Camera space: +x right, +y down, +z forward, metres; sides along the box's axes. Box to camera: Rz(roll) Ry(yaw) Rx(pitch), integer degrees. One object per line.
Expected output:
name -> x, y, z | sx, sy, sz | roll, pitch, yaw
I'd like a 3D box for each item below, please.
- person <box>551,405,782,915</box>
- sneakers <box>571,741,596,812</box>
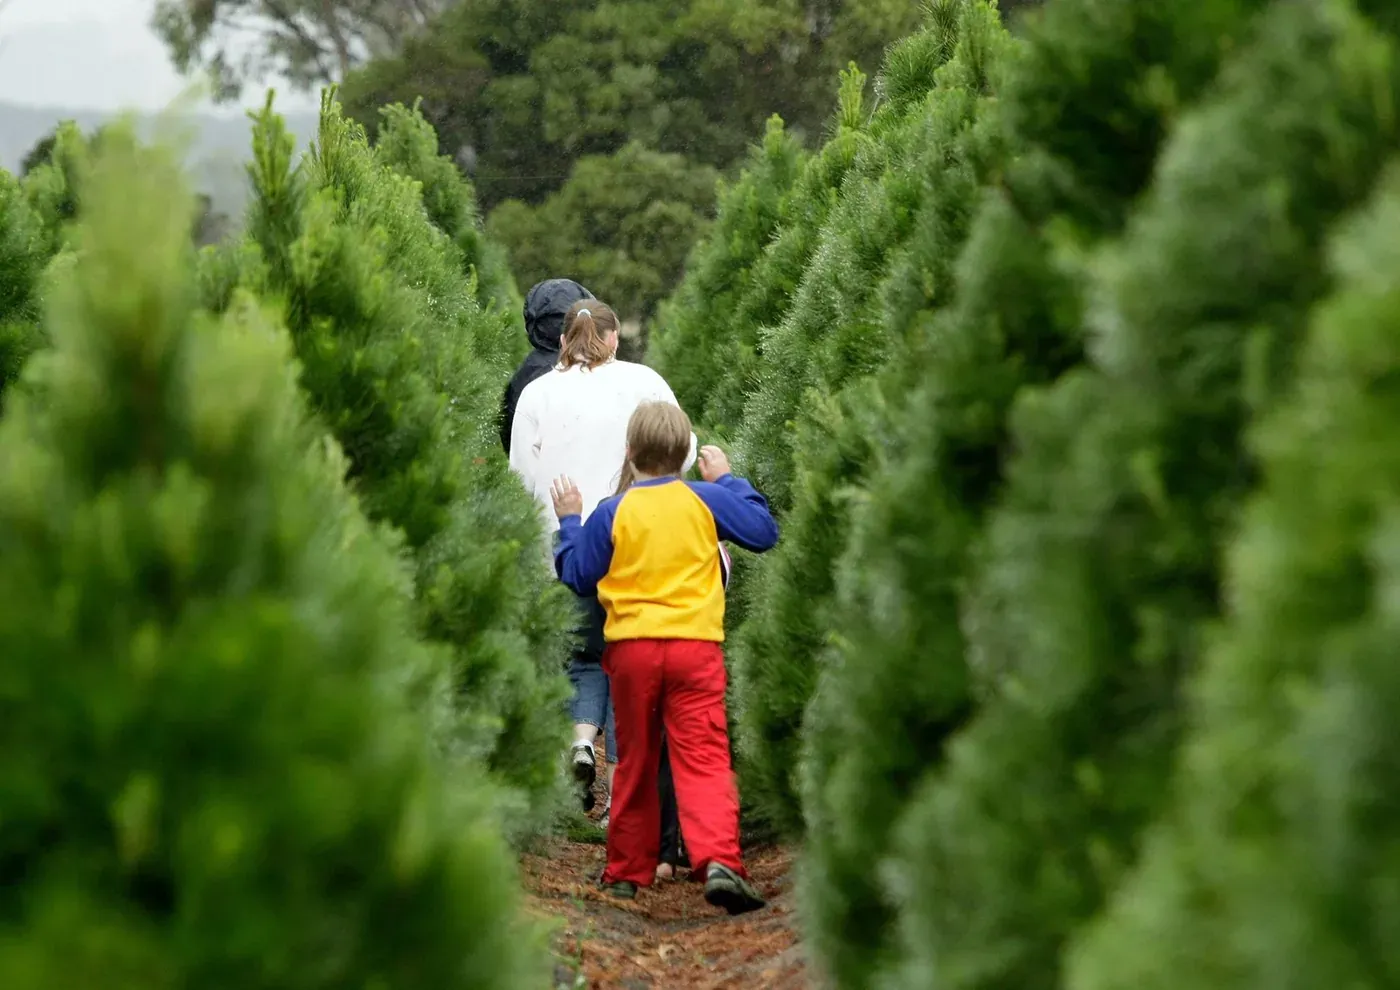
person -> -0.117, 0.417, 5.449 | 0.534, 1.236, 0.527 | 10, -23, -31
sneakers -> -0.328, 0.811, 6.109 | 0.061, 0.102, 0.262 | -5, -62, -5
